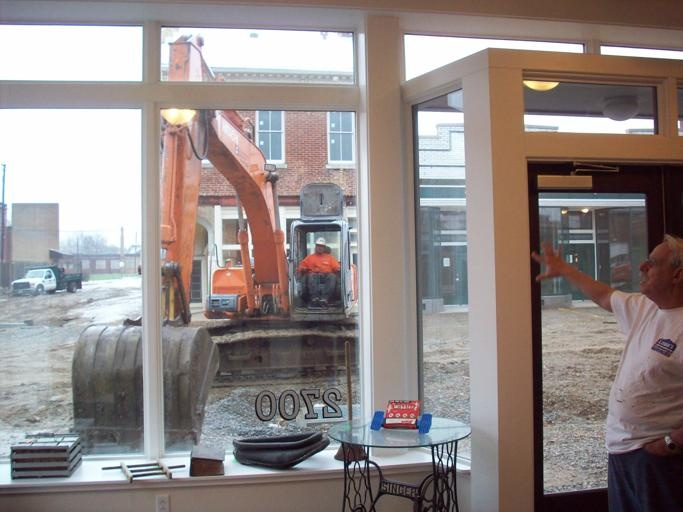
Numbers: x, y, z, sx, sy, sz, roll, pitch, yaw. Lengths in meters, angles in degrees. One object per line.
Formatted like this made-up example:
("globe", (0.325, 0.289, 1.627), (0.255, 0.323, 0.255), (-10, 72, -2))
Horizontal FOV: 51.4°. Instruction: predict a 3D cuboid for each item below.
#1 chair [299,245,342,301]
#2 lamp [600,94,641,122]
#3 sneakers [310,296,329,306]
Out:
("chair", (-0.152, 0.121, 4.947), (0.292, 0.601, 0.317), (0, -7, -1))
("lamp", (1.789, -0.953, 4.506), (0.169, 0.128, 0.186), (0, -1, 5))
("sneakers", (-0.151, 0.308, 4.935), (0.109, 0.060, 0.052), (4, -2, -7))
